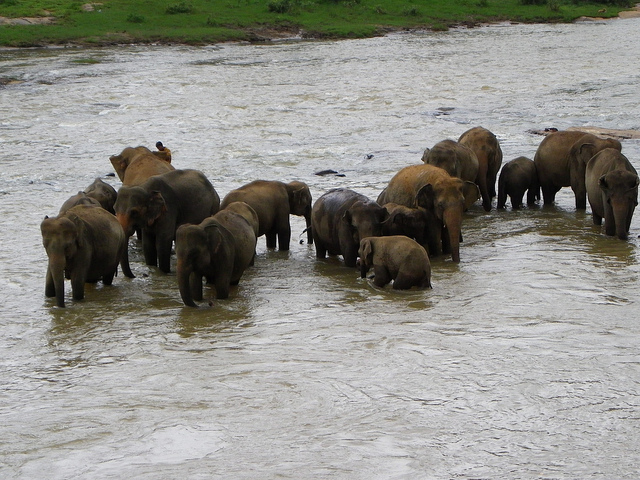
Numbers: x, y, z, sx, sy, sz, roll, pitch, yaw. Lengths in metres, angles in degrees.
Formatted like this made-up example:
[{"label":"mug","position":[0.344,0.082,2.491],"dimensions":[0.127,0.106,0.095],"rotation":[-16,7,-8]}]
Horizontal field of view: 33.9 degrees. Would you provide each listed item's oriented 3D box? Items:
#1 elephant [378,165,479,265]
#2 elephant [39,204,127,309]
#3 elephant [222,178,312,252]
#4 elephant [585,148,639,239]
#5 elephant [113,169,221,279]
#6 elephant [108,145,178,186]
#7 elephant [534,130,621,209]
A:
[{"label":"elephant","position":[1.566,-0.433,15.059],"dimensions":[1.040,1.160,2.362],"rotation":[-5,9,-15]},{"label":"elephant","position":[-2.945,0.164,13.010],"dimensions":[0.600,1.126,1.358],"rotation":[0,9,15]},{"label":"elephant","position":[-0.703,-0.331,15.193],"dimensions":[0.759,1.040,1.931],"rotation":[6,10,41]},{"label":"elephant","position":[4.304,-0.700,15.325],"dimensions":[0.562,1.228,1.104],"rotation":[-2,9,3]},{"label":"elephant","position":[-2.086,-0.250,14.465],"dimensions":[0.775,1.328,1.918],"rotation":[13,24,38]},{"label":"elephant","position":[-2.589,-1.078,15.639],"dimensions":[0.607,0.642,1.163],"rotation":[-19,36,-23]},{"label":"elephant","position":[4.245,-1.068,16.907],"dimensions":[0.951,1.264,1.957],"rotation":[-12,16,-32]}]
